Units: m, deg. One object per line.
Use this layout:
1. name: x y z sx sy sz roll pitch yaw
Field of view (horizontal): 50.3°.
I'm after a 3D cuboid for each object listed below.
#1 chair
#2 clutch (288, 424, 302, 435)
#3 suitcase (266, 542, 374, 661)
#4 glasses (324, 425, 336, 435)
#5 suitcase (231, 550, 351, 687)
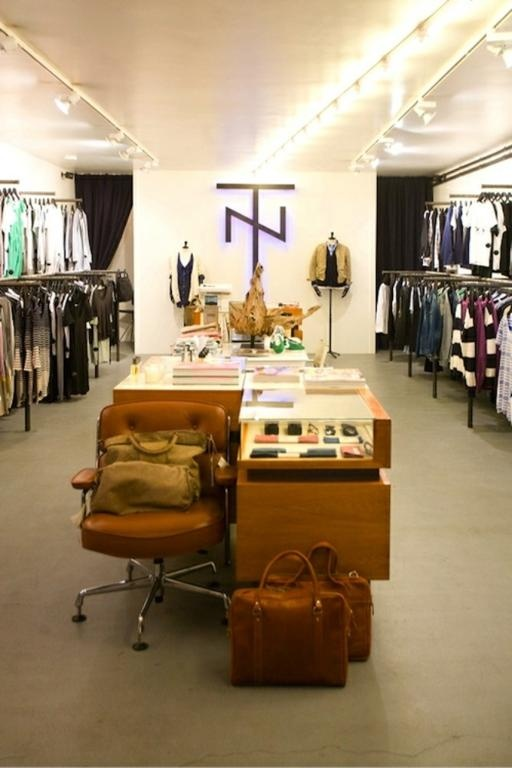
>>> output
1. chair: -0.381 0.479 2.205 0.626 0.950 0.761 1 3 -1
2. clutch: 0.136 0.168 2.026 0.056 0.049 0.034 3 10 14
3. suitcase: 0.184 0.691 1.778 0.338 0.390 0.142 -2 5 3
4. glasses: 0.262 0.168 1.988 0.031 0.037 0.035 1 23 5
5. suitcase: 0.095 0.721 1.592 0.340 0.149 0.403 -1 44 3
